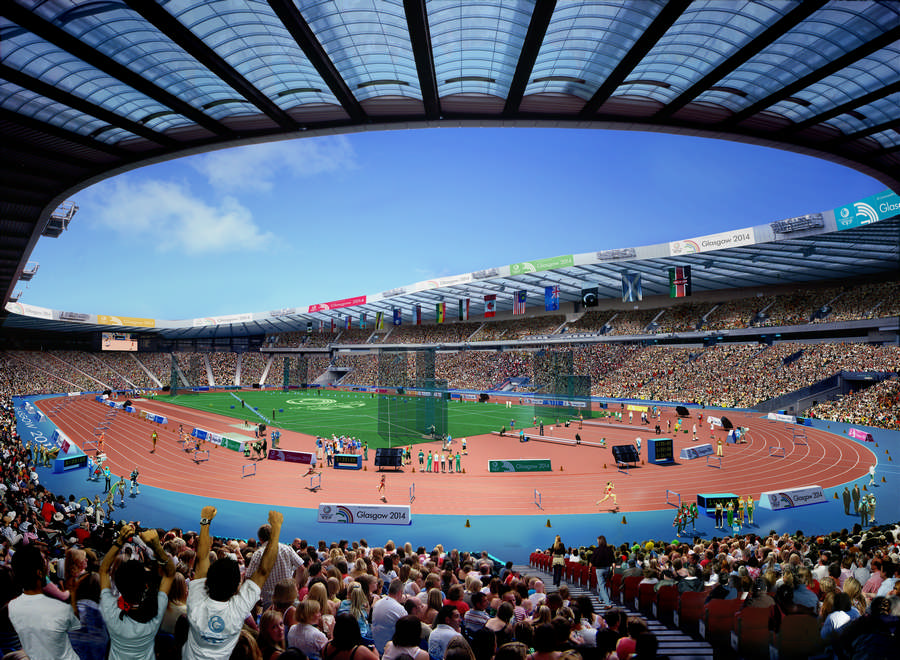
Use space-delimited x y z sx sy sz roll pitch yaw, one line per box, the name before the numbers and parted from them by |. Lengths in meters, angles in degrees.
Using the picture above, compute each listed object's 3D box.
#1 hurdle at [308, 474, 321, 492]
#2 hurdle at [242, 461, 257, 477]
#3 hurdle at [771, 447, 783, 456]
hurdle | -6.517 7.470 28.409 0.440 0.378 0.384 -3 5 -44
hurdle | -10.624 7.414 31.010 0.357 0.711 0.982 -7 -7 42
hurdle | 19.103 7.128 34.242 0.469 0.231 0.427 1 0 -26
